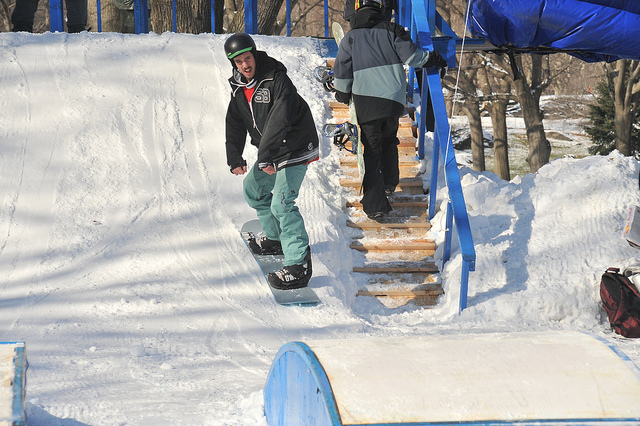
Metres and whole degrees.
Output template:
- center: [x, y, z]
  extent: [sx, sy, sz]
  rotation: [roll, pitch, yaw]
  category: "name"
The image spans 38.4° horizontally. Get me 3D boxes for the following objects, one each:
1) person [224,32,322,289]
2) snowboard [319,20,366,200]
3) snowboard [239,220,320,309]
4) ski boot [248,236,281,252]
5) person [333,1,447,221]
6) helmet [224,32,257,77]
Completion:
- center: [-0.572, -0.575, 10.683]
  extent: [1.041, 2.953, 0.858]
  rotation: [3, 11, 14]
  category: "person"
- center: [0.367, -1.038, 12.167]
  extent: [0.421, 2.976, 0.400]
  rotation: [-30, 45, -30]
  category: "snowboard"
- center: [-0.520, 0.717, 11.019]
  extent: [0.473, 0.249, 1.751]
  rotation: [-12, 45, -17]
  category: "snowboard"
- center: [-0.686, 0.358, 11.223]
  extent: [0.371, 0.174, 0.177]
  rotation: [5, 18, -5]
  category: "ski boot"
- center: [0.820, -1.327, 11.918]
  extent: [1.281, 2.765, 0.966]
  rotation: [0, 11, 1]
  category: "person"
- center: [-0.855, -1.833, 10.302]
  extent: [0.244, 0.386, 0.373]
  rotation: [-10, 19, 10]
  category: "helmet"
